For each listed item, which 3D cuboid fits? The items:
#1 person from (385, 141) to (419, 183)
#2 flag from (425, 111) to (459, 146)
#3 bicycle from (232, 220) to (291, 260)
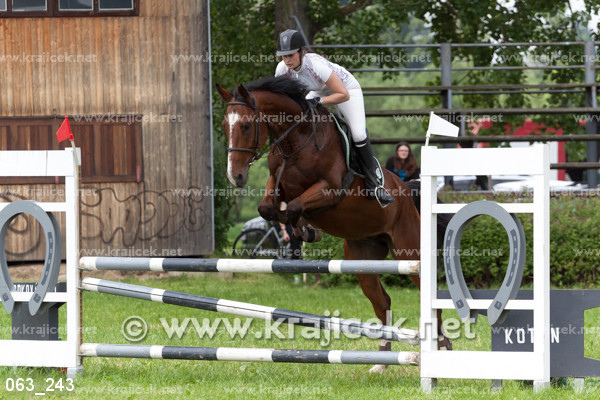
[{"bbox_3d":[1.621,-0.495,22.264,0.510,0.932,0.423,-5,21,-10],"label":"person"},{"bbox_3d":[2.009,-0.995,19.564,0.451,0.452,0.539,1,4,9],"label":"flag"},{"bbox_3d":[-0.719,0.771,26.126,1.328,0.842,0.670,-2,3,5],"label":"bicycle"}]
